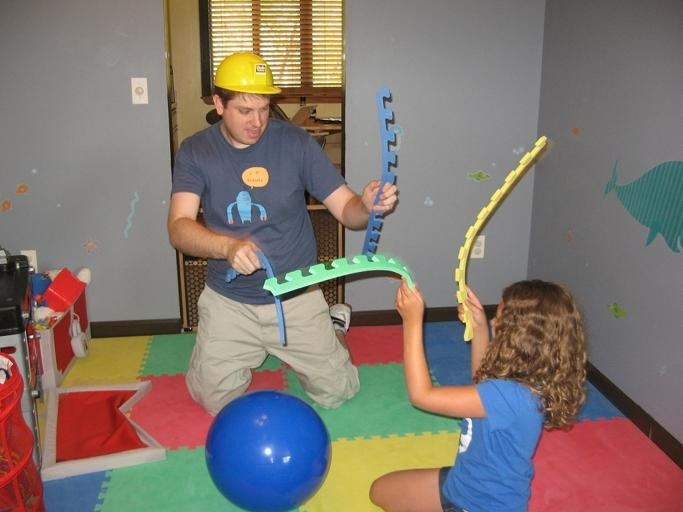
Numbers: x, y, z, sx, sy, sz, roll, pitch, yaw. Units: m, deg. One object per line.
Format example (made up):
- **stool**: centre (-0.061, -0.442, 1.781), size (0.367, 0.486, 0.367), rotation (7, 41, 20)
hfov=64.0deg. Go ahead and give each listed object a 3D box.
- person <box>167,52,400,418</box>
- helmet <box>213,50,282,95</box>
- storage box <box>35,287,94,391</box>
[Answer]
- **person**: centre (-0.322, -0.037, 2.704), size (0.948, 1.788, 0.942), rotation (-4, 23, -14)
- **helmet**: centre (-0.447, -0.869, 2.582), size (0.281, 0.196, 0.360), rotation (-5, 22, -30)
- **storage box**: centre (-1.745, 0.498, 3.360), size (0.277, 0.401, 0.602), rotation (2, 18, -5)
